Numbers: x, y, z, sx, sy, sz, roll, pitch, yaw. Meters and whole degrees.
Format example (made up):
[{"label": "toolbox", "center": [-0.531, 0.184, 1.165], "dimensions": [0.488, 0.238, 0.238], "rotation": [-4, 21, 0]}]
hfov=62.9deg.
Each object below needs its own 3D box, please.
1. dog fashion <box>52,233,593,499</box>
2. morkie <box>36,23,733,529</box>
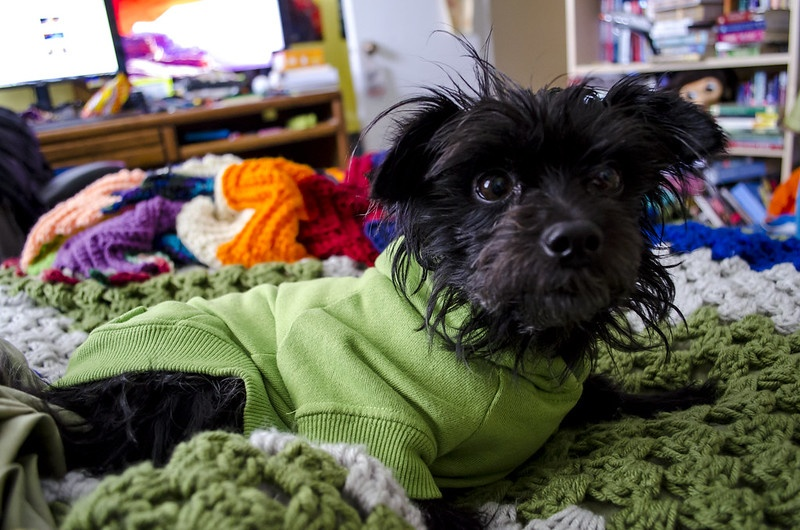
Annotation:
[{"label": "dog fashion", "center": [-0.172, 0.238, 1.590], "dimensions": [0.947, 0.470, 0.720], "rotation": [3, 3, 14]}, {"label": "morkie", "center": [0.028, 0.037, 1.601], "dimensions": [1.648, 1.056, 0.599], "rotation": [-8, 19, -11]}]
